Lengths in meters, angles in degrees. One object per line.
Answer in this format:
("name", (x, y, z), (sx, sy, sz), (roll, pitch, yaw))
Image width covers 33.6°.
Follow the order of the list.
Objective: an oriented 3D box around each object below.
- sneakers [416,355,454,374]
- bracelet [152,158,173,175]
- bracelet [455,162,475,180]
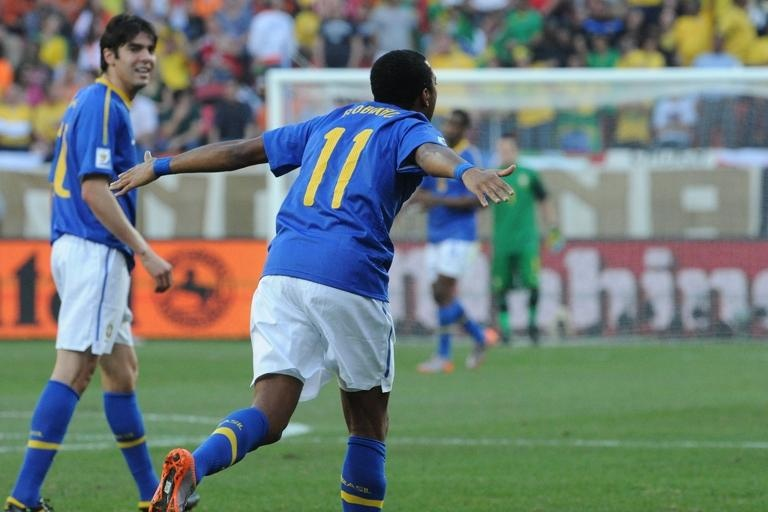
("sneakers", (0.533, 1.135, 13.290), (0.415, 0.184, 0.154), (3, -4, 0))
("bracelet", (-1.430, -0.574, 8.142), (0.108, 0.110, 0.039), (-1, 7, 20))
("bracelet", (0.493, -0.518, 7.621), (0.096, 0.112, 0.151), (2, 2, 35))
